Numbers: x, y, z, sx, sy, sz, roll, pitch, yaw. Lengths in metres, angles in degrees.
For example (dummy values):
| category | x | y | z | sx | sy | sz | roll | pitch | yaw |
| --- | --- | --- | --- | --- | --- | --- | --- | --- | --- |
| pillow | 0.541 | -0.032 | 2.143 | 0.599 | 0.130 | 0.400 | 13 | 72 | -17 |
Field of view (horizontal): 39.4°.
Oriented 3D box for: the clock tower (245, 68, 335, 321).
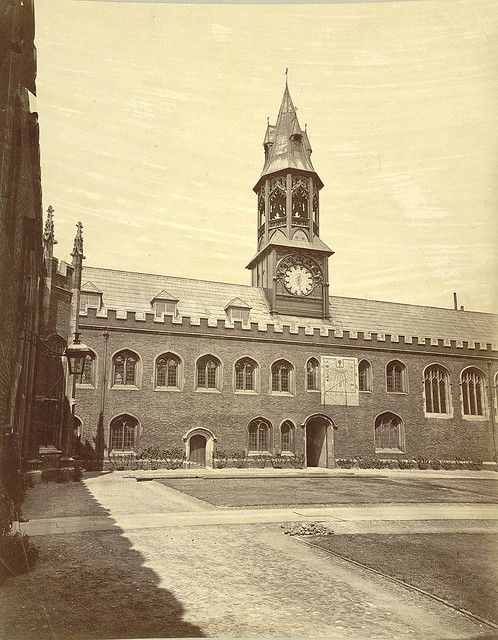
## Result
| category | x | y | z | sx | sy | sz | roll | pitch | yaw |
| --- | --- | --- | --- | --- | --- | --- | --- | --- | --- |
| clock tower | 2.362 | -7.503 | 40.983 | 4.997 | 15.413 | 5.013 | -3 | -12 | 13 |

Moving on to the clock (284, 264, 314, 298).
| category | x | y | z | sx | sy | sz | roll | pitch | yaw |
| --- | --- | --- | --- | --- | --- | --- | --- | --- | --- |
| clock | 2.697 | -2.134 | 38.611 | 1.381 | 1.364 | 0.078 | 36 | -21 | -19 |
